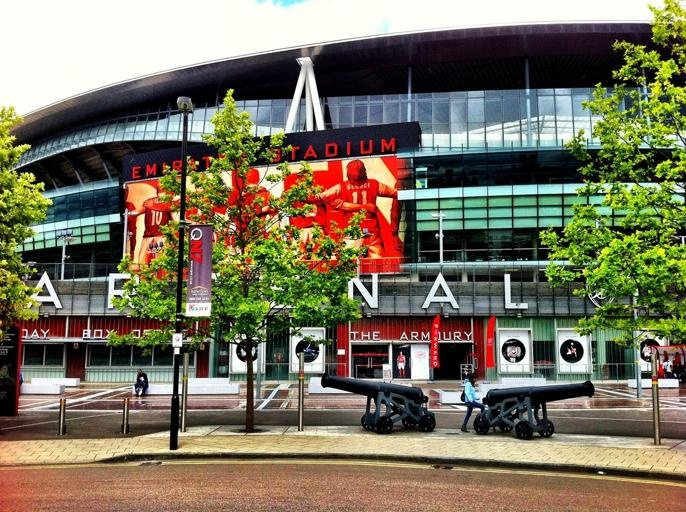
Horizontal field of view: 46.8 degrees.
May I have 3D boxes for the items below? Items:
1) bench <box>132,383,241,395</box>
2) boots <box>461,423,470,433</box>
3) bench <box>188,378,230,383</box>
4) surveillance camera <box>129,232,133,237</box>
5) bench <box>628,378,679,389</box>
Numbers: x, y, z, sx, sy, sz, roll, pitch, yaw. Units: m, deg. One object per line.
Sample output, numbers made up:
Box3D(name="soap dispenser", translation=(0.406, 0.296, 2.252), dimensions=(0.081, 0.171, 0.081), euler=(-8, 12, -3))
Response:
Box3D(name="bench", translation=(-8.909, 7.912, 47.125), dimensions=(3.637, 0.408, 1.748), euler=(0, -3, 2))
Box3D(name="boots", translation=(4.839, 6.799, 31.461), dimensions=(0.495, 0.321, 0.201), euler=(1, 1, -38))
Box3D(name="bench", translation=(-8.455, 7.714, 49.219), dimensions=(1.128, 0.261, 2.963), euler=(-4, -9, 27))
Box3D(name="surveillance camera", translation=(-18.624, -1.907, 68.589), dimensions=(0.542, 0.426, 0.142), euler=(3, -3, 8))
Box3D(name="bench", translation=(20.148, 8.190, 51.235), dimensions=(3.005, 0.595, 4.680), euler=(-2, -8, 14))
